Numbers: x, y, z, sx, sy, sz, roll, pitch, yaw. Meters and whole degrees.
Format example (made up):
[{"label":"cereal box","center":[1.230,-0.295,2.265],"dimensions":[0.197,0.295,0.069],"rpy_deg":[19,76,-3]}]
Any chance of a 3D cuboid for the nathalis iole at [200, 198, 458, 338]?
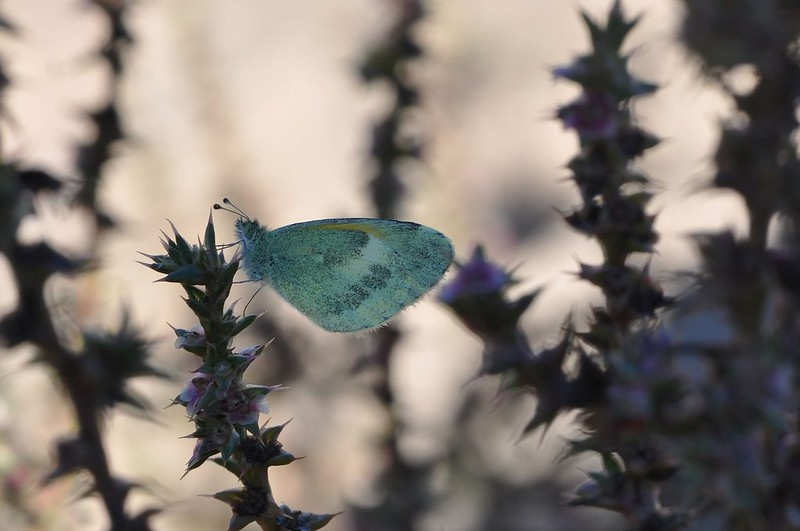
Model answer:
[{"label":"nathalis iole","center":[-0.127,0.055,2.956],"dimensions":[0.259,0.105,0.280],"rpy_deg":[12,-13,-27]}]
